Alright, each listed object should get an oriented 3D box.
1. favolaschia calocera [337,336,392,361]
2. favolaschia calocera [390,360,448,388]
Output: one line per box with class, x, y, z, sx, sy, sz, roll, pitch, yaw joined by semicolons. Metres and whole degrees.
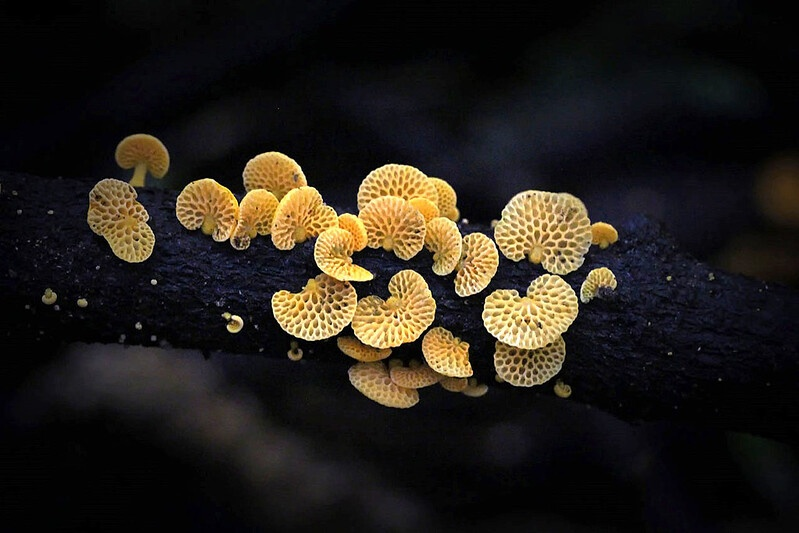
favolaschia calocera;-0.321;0.656;6.529;0.296;0.109;0.260;20;9;33
favolaschia calocera;0.115;0.932;6.547;0.287;0.072;0.299;11;33;-8
